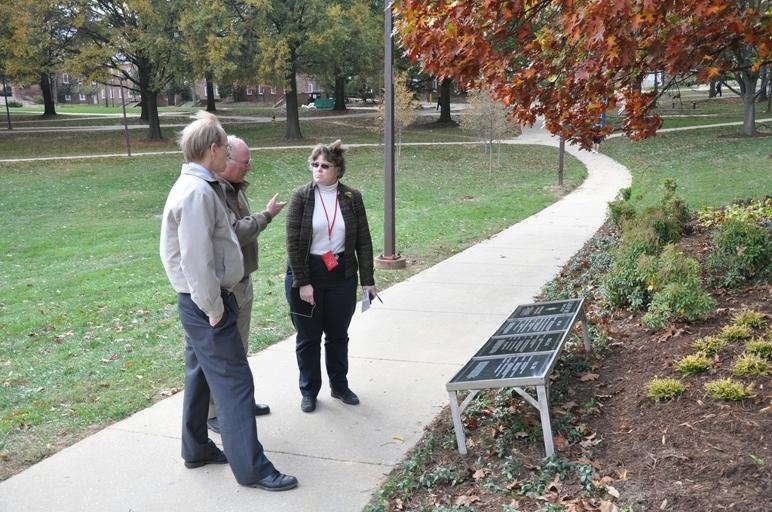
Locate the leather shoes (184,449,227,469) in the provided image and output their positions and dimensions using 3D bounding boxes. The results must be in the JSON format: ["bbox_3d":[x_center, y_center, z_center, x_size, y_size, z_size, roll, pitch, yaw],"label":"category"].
[{"bbox_3d":[-1.614,1.810,5.669,0.321,0.139,0.160,-6,7,-20],"label":"leather shoes"}]

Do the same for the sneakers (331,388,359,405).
[{"bbox_3d":[-0.432,1.481,6.639,0.275,0.111,0.129,8,11,30],"label":"sneakers"}]

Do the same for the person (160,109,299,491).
[{"bbox_3d":[-1.445,0.398,5.392,1.050,3.161,0.648,10,18,40],"label":"person"}]

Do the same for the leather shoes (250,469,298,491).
[{"bbox_3d":[-0.973,1.945,5.492,0.353,0.154,0.167,-1,2,3],"label":"leather shoes"}]
